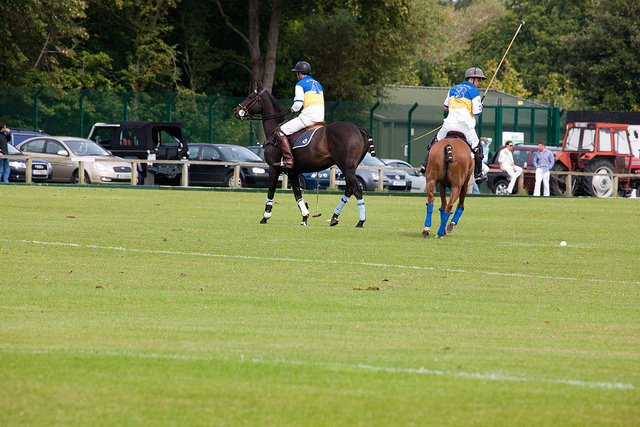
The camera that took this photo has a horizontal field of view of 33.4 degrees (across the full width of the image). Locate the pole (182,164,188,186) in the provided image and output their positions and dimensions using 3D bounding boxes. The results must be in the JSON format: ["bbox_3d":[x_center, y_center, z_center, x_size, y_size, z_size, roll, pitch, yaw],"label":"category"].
[{"bbox_3d":[-5.018,-1.423,39.683,0.199,0.795,0.768,4,0,-9],"label":"pole"}]

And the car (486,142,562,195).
[{"bbox_3d":[7.960,-1.676,41.338,2.247,2.117,5.397,1,2,0],"label":"car"}]

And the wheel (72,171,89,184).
[{"bbox_3d":[-8.830,-1.344,39.424,0.499,0.455,0.173,1,-2,12],"label":"wheel"}]

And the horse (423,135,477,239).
[{"bbox_3d":[3.292,-0.693,26.728,0.983,2.582,1.362,4,0,29],"label":"horse"}]

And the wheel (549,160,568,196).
[{"bbox_3d":[9.182,-1.321,40.874,0.460,1.341,1.459,2,5,42],"label":"wheel"}]

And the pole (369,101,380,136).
[{"bbox_3d":[2.523,-4.442,50.006,0.319,1.528,0.537,4,0,-19],"label":"pole"}]

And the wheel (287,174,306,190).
[{"bbox_3d":[-0.761,-1.024,34.582,0.701,0.635,0.256,7,-3,-10],"label":"wheel"}]

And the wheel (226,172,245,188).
[{"bbox_3d":[-3.202,-1.270,40.647,0.672,0.611,0.233,2,0,12],"label":"wheel"}]

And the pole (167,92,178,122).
[{"bbox_3d":[-7.018,-4.964,50.136,0.170,1.288,0.571,4,0,-29],"label":"pole"}]

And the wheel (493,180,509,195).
[{"bbox_3d":[7.224,-1.055,42.285,0.649,0.603,0.233,0,2,36],"label":"wheel"}]

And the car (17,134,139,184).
[{"bbox_3d":[-8.909,-1.991,39.882,4.968,1.735,2.074,1,1,22],"label":"car"}]

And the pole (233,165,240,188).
[{"bbox_3d":[-3.128,-1.397,40.088,0.201,0.856,0.715,4,0,-6],"label":"pole"}]

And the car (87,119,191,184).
[{"bbox_3d":[-7.316,-2.555,42.251,4.235,2.184,2.485,8,9,34],"label":"car"}]

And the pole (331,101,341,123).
[{"bbox_3d":[0.769,-4.788,49.718,0.362,0.978,0.438,4,0,-34],"label":"pole"}]

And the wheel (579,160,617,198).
[{"bbox_3d":[10.637,-1.186,40.701,1.855,1.729,0.616,2,-1,-36],"label":"wheel"}]

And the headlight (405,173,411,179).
[{"bbox_3d":[3.553,-1.488,42.773,0.179,0.218,0.230,3,3,-4],"label":"headlight"}]
